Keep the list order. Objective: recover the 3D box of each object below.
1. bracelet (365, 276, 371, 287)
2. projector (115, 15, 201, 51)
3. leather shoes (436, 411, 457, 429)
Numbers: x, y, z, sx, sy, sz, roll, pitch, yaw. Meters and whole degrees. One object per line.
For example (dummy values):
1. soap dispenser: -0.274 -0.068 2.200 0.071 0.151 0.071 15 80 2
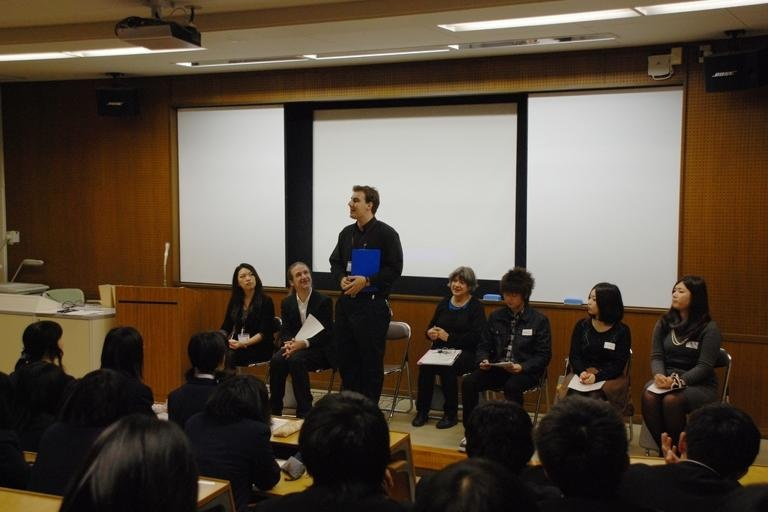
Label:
1. bracelet: -0.157 0.241 5.405 0.037 0.072 0.059 0 3 -4
2. projector: -2.021 -2.041 5.043 0.702 0.214 0.430 2 0 -28
3. leather shoes: 0.634 1.649 5.638 0.103 0.092 0.215 -2 -5 37
